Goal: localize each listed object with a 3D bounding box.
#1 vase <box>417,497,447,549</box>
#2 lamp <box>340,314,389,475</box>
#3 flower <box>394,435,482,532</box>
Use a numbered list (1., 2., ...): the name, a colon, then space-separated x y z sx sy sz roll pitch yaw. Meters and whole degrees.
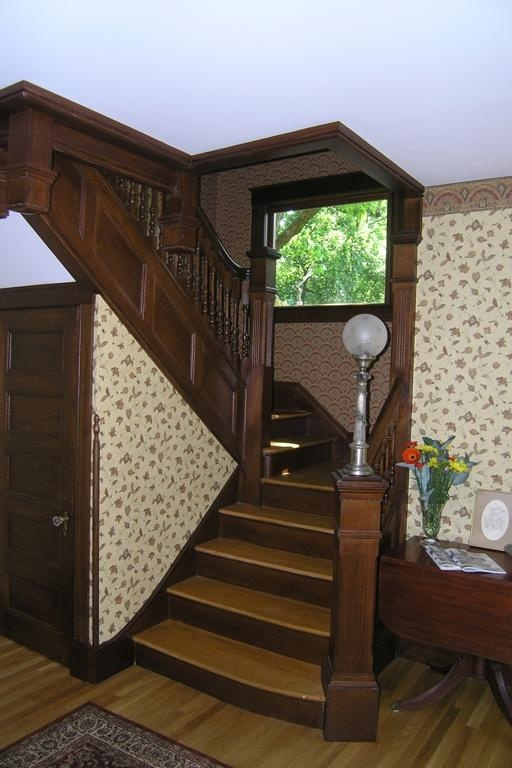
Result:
1. vase: 0.849 0.680 3.186 0.188 0.278 0.202 1 -3 17
2. lamp: 0.471 0.035 2.921 0.189 0.709 0.290 2 3 10
3. flower: 0.896 0.516 3.253 0.346 0.504 0.386 3 3 26
